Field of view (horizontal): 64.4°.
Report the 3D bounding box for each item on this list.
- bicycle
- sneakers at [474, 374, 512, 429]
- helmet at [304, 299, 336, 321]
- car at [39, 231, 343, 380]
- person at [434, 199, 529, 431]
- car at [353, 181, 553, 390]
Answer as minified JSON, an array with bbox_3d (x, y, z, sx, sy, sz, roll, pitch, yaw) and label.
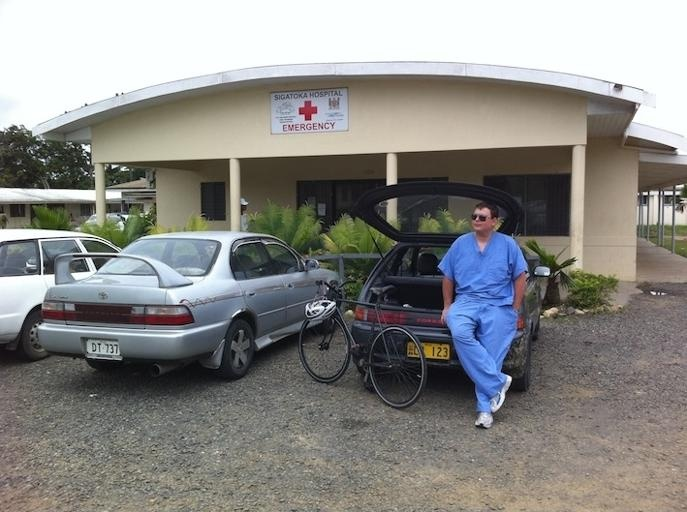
[{"bbox_3d":[0.264,0.935,5.998,1.798,1.118,0.822,13,15,42],"label":"bicycle"},{"bbox_3d":[1.484,1.340,5.226,0.218,0.260,0.671,-15,17,38],"label":"sneakers"},{"bbox_3d":[-0.233,0.547,5.710,0.203,0.105,0.269,-2,9,26],"label":"helmet"},{"bbox_3d":[-1.763,0.576,6.424,1.590,1.605,2.956,7,12,39],"label":"car"},{"bbox_3d":[1.325,0.478,5.312,0.827,1.915,0.784,3,10,22],"label":"person"},{"bbox_3d":[1.403,0.039,7.044,1.961,2.107,3.608,1,9,23],"label":"car"}]
